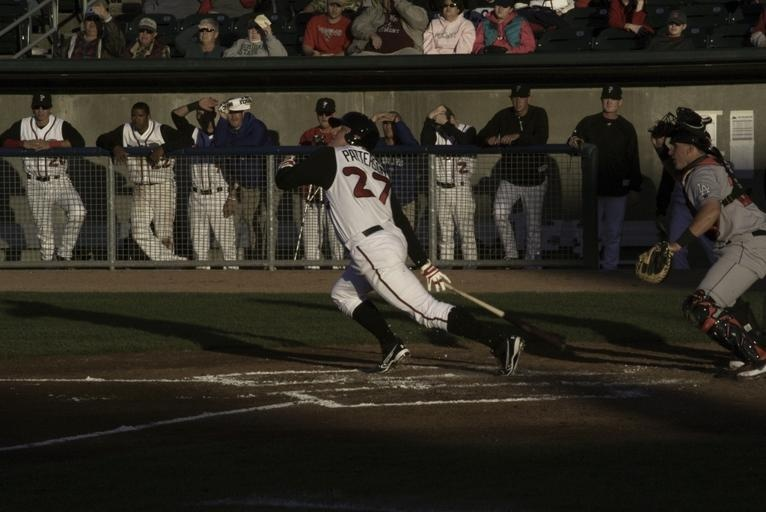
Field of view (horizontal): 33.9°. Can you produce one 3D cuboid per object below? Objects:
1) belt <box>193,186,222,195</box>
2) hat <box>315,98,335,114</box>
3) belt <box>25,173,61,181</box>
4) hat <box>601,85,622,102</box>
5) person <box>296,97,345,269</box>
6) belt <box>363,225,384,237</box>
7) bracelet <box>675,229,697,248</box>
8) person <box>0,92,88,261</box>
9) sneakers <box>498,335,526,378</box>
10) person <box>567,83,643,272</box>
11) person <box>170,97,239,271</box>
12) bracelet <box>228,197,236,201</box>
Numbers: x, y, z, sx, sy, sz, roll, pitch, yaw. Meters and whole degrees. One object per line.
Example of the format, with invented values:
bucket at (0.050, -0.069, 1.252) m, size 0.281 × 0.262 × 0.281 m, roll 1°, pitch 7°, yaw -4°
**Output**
belt at (-2.303, -0.863, 16.440) m, size 0.420 × 0.108 × 0.099 m, roll -1°, pitch 14°, yaw -2°
hat at (-0.763, -1.977, 16.550) m, size 0.232 × 0.147 × 0.296 m, roll 2°, pitch 2°, yaw 6°
belt at (-4.525, -1.039, 16.640) m, size 0.439 × 0.098 × 0.077 m, roll 2°, pitch 15°, yaw 9°
hat at (3.050, -2.183, 16.732) m, size 0.251 × 0.181 × 0.366 m, roll 1°, pitch 13°, yaw 7°
person at (-0.709, -0.913, 16.232) m, size 1.006 × 2.154 × 0.703 m, roll -2°, pitch 16°, yaw -2°
belt at (-0.094, -0.235, 11.425) m, size 0.124 × 0.046 × 0.130 m, roll -15°, pitch -8°, yaw -34°
bracelet at (2.764, -0.179, 11.427) m, size 0.164 × 0.175 × 0.320 m, roll 2°, pitch 13°, yaw 12°
person at (-4.535, -1.083, 16.858) m, size 1.012 × 2.175 × 1.160 m, roll -5°, pitch 16°, yaw -16°
sneakers at (1.202, 0.895, 11.473) m, size 0.274 × 0.418 × 0.167 m, roll 8°, pitch -2°, yaw 12°
person at (3.027, -1.041, 16.664) m, size 0.787 × 2.388 × 0.670 m, roll -4°, pitch 16°, yaw -12°
person at (-2.395, -0.988, 16.916) m, size 0.597 × 2.165 × 1.507 m, roll -4°, pitch 15°, yaw -13°
bracelet at (-1.976, -0.750, 16.395) m, size 0.075 × 0.052 × 0.015 m, roll 3°, pitch -21°, yaw 1°
